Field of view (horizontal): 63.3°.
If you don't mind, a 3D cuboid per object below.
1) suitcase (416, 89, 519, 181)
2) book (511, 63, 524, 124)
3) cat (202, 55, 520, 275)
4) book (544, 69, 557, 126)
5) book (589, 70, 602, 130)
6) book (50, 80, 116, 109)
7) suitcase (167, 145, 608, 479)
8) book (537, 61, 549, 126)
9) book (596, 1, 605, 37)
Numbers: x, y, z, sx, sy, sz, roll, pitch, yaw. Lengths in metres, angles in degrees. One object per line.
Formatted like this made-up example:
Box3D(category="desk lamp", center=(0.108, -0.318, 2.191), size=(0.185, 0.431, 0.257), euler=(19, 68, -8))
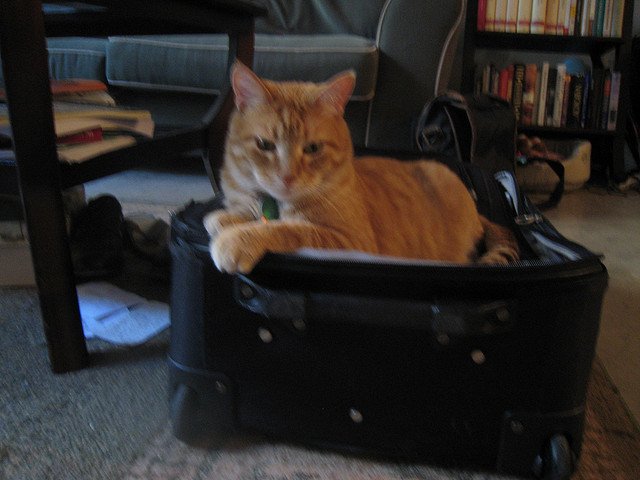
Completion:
Box3D(category="suitcase", center=(0.356, -0.261, 1.280), size=(0.153, 0.277, 0.232), euler=(16, 25, 37))
Box3D(category="book", center=(0.825, -0.619, 2.184), size=(0.043, 0.203, 0.185), euler=(2, 11, 14))
Box3D(category="cat", center=(0.083, -0.081, 0.738), size=(0.447, 0.252, 0.275), euler=(3, 10, -26))
Box3D(category="book", center=(0.973, -0.604, 2.200), size=(0.037, 0.178, 0.166), euler=(3, 10, 13))
Box3D(category="book", center=(1.191, -0.605, 2.245), size=(0.026, 0.235, 0.234), euler=(6, 15, 29))
Box3D(category="book", center=(-0.450, -0.263, 0.998), size=(0.088, 0.024, 0.066), euler=(-5, 38, -47))
Box3D(category="suitcase", center=(0.088, 0.115, 0.791), size=(0.496, 0.239, 0.454), euler=(4, 22, 6))
Box3D(category="book", center=(0.947, -0.624, 2.230), size=(0.025, 0.155, 0.147), euler=(-3, -20, 16))
Box3D(category="book", center=(1.149, -0.913, 2.131), size=(0.029, 0.130, 0.019), euler=(4, 18, 8))
